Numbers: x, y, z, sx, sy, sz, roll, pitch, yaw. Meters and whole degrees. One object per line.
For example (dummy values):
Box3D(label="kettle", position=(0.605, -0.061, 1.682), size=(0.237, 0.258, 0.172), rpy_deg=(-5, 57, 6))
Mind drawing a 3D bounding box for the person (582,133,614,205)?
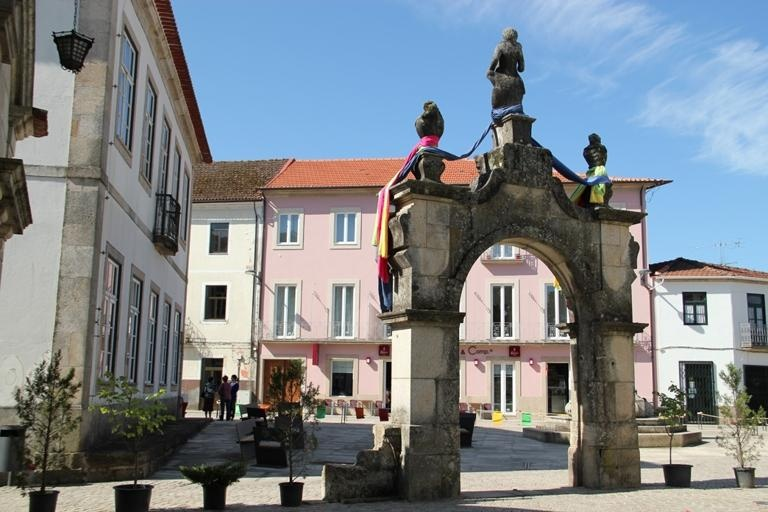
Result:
Box3D(label="person", position=(4.688, -1.970, 19.234), size=(0.620, 1.624, 2.003), rpy_deg=(-2, -15, 13))

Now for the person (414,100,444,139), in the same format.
Box3D(label="person", position=(0.945, -2.863, 18.471), size=(0.611, 0.850, 0.468), rpy_deg=(0, -12, -9))

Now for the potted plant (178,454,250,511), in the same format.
Box3D(label="potted plant", position=(-3.223, 4.298, 16.347), size=(1.104, 0.894, 0.494), rpy_deg=(3, -14, -8))

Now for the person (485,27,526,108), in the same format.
Box3D(label="person", position=(2.621, -4.068, 18.870), size=(0.746, 1.686, 0.520), rpy_deg=(0, -14, 4))

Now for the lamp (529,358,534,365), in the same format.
Box3D(label="lamp", position=(6.395, 4.586, 37.968), size=(0.221, 0.337, 0.226), rpy_deg=(1, -5, -14))

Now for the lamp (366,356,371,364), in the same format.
Box3D(label="lamp", position=(-0.732, 4.590, 38.543), size=(0.223, 0.315, 0.113), rpy_deg=(0, -1, 0))
